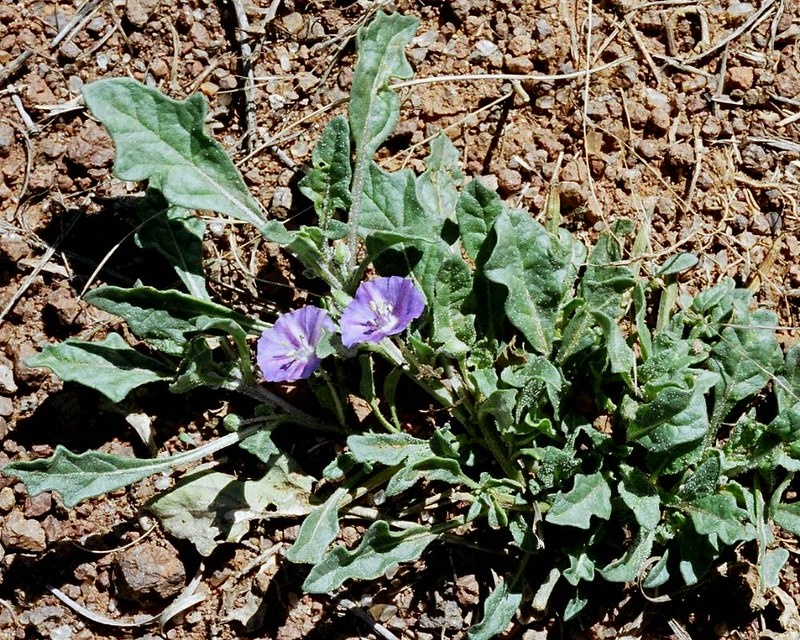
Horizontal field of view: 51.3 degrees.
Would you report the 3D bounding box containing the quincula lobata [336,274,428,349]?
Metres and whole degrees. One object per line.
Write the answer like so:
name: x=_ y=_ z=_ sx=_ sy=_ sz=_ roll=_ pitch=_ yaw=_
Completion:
quincula lobata: x=-0.079 y=-0.032 z=3.120 sx=0.158 sy=0.324 sz=0.296 roll=30 pitch=-19 yaw=-32
